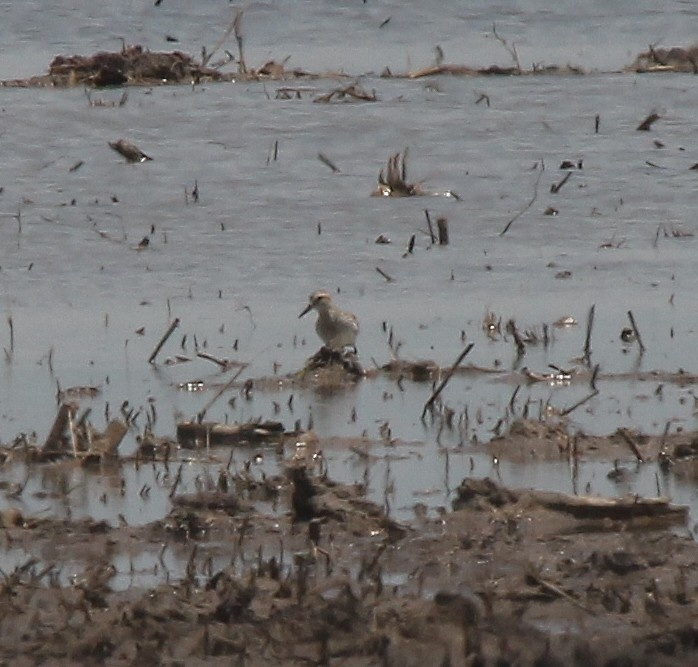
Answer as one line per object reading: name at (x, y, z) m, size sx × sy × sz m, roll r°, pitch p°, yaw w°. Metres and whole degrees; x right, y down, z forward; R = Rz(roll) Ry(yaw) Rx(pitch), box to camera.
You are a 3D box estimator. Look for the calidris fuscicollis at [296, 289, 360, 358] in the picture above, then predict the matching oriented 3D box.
calidris fuscicollis at (-0.114, -0.084, 10.023) m, size 0.464 × 0.606 × 0.826 m, roll -1°, pitch 6°, yaw 30°
